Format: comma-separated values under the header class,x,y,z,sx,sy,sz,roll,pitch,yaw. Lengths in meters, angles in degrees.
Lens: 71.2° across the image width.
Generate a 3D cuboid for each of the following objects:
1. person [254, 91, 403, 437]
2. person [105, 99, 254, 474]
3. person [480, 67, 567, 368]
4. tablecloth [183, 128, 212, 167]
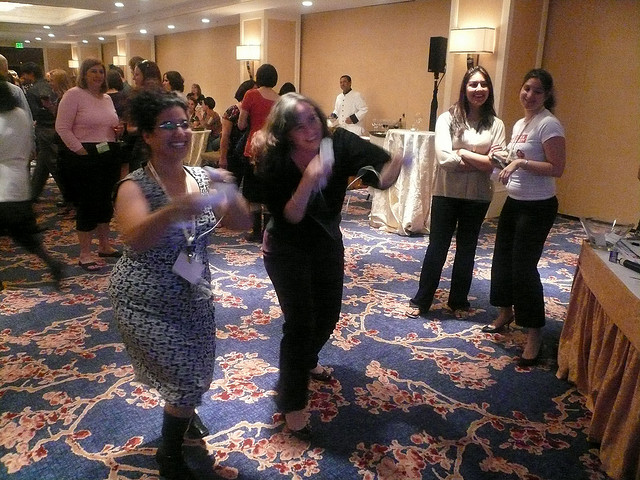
class,x,y,z,sx,sy,sz,roll,pitch,yaw
person,-0.003,0.075,2.175,0.582,1.496,0.306,-6,18,-21
person,-0.584,0.217,1.943,0.464,1.581,0.511,16,22,39
person,1.381,-0.162,2.949,0.396,1.852,0.689,1,17,-1
tablecloth,-1.942,-1.415,6.909,0.264,0.546,0.525,5,18,13
